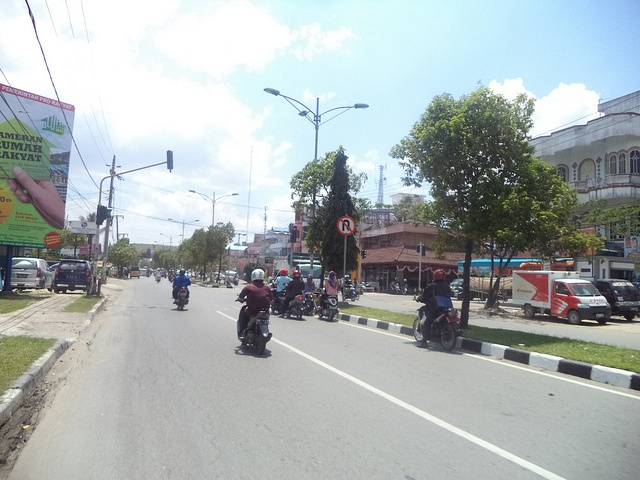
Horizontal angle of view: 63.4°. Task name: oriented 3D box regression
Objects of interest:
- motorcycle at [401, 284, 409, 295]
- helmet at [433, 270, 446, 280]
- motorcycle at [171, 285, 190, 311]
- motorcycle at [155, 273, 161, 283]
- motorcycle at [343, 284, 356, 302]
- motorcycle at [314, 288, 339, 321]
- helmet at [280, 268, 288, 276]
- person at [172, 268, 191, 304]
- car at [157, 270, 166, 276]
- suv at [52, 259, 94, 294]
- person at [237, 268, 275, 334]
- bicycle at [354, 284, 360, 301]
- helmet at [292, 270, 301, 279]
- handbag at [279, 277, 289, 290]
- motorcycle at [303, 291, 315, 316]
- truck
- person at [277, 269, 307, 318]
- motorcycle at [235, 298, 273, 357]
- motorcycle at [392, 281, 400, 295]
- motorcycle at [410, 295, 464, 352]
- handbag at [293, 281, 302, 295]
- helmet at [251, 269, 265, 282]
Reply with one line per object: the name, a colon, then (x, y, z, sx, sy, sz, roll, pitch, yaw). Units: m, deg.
motorcycle: (7.478, 4.369, 45.752, 0.704, 0.925, 0.218, 4, -8, -22)
helmet: (3.070, 0.895, 13.348, 0.232, 0.338, 0.336, 3, 12, 3)
motorcycle: (-5.584, 2.367, 20.981, 0.491, 0.880, 0.565, 2, -4, -4)
motorcycle: (-21.080, 4.984, 67.526, 1.001, 1.511, 2.420, 2, -5, -25)
motorcycle: (1.758, 3.120, 30.114, 0.722, 0.847, 1.288, 1, -13, -11)
motorcycle: (0.311, 2.531, 19.632, 0.472, 1.013, 1.190, 3, -5, -20)
helmet: (-1.360, 1.224, 19.669, 0.190, 0.278, 0.263, 3, 23, -6)
person: (-5.667, 1.870, 21.469, 0.671, 0.871, 1.258, 2, -3, -11)
car: (-28.297, 5.940, 92.659, 1.147, 1.010, 1.828, 2, 6, -11)
suv: (-12.918, 1.912, 27.151, 1.480, 1.475, 2.781, 1, 1, -20)
person: (-1.510, 1.376, 11.948, 0.734, 1.023, 1.458, 3, -4, -7)
bicycle: (2.690, 3.951, 38.507, 0.724, 0.966, 1.464, 0, -8, -3)
helmet: (-0.853, 1.275, 19.037, 0.204, 0.312, 0.280, 6, 21, 11)
handbag: (-1.327, 1.649, 19.541, 0.385, 0.437, 0.236, 2, 0, 8)
motorcycle: (-0.412, 2.524, 20.704, 0.406, 0.604, 0.911, 1, -5, -5)
truck: (11.072, 2.587, 24.060, 1.735, 2.438, 4.309, 0, -3, -19)
person: (-0.974, 2.002, 19.063, 0.629, 1.767, 1.149, 4, -4, -33)
motorcycle: (-1.454, 2.044, 11.810, 0.442, 1.018, 1.120, 3, -5, -27)
motorcycle: (6.769, 4.267, 45.890, 0.478, 0.588, 0.944, 6, -31, 0)
motorcycle: (2.993, 2.232, 13.477, 0.745, 1.233, 1.784, 8, -5, -12)
handbag: (-0.835, 1.738, 18.934, 0.396, 0.593, 0.319, 2, -5, -15)
helmet: (-1.415, 0.818, 11.989, 0.239, 0.311, 0.337, 4, -5, -23)
